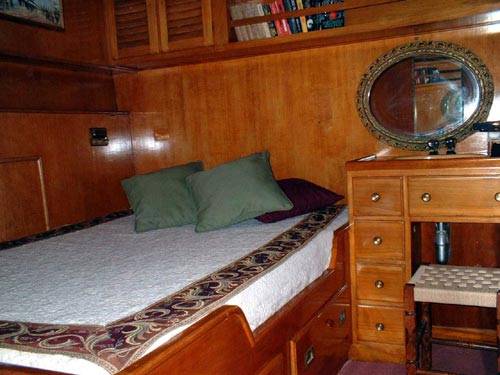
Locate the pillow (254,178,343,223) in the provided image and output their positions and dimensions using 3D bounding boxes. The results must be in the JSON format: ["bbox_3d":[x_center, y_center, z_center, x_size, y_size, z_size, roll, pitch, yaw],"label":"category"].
[{"bbox_3d":[0.313,0.080,2.348,0.429,0.093,0.350,9,27,26],"label":"pillow"}]

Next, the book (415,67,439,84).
[{"bbox_3d":[1.102,-0.693,2.358,0.143,0.095,0.037,1,16,20],"label":"book"}]

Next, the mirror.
[{"bbox_3d":[1.110,-0.574,2.343,1.143,0.705,0.049,-1,2,26],"label":"mirror"}]

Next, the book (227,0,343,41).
[{"bbox_3d":[0.199,-1.061,2.387,0.766,0.267,0.143,-3,29,15],"label":"book"}]
